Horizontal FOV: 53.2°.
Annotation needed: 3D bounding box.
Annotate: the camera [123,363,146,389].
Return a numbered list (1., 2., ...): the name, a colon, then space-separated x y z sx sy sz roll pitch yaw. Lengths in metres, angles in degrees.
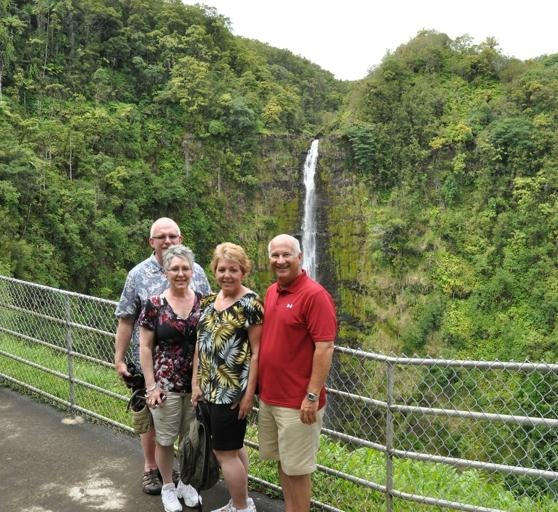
1. camera: -1.186 0.993 4.615 0.076 0.158 0.198 -14 42 -38

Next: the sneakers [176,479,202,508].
1. sneakers: -0.709 1.872 4.382 0.126 0.146 0.327 13 -20 -32

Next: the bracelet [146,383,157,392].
1. bracelet: -0.974 1.012 4.272 0.074 0.078 0.048 5 4 -15

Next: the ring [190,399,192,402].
1. ring: -0.685 1.127 4.344 0.016 0.023 0.022 -2 -14 -2

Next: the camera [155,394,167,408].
1. camera: -0.902 1.096 4.272 0.030 0.098 0.065 14 6 31

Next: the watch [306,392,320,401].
1. watch: 0.230 0.970 3.835 0.065 0.053 0.076 5 -12 -9

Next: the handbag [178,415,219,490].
1. handbag: -0.588 1.467 4.176 0.201 0.490 0.358 10 -8 -19
